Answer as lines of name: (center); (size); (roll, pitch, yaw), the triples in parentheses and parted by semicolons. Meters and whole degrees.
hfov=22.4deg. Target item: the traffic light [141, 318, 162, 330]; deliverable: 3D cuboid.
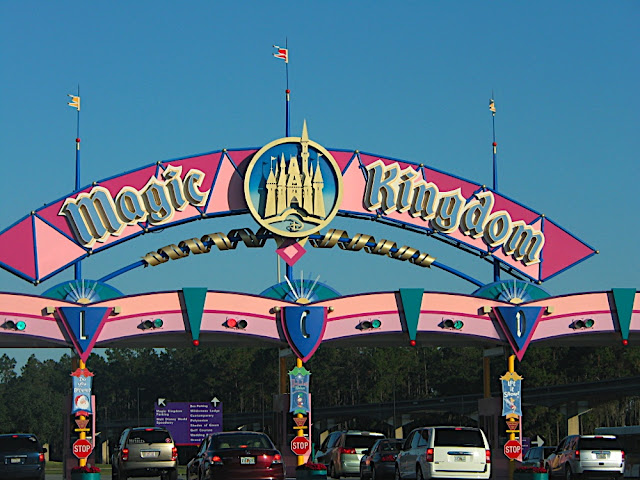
traffic light: (-8.962, 4.525, 86.280); (1.127, 0.606, 0.126); (-3, -6, 0)

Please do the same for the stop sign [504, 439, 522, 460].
stop sign: (10.287, 11.484, 85.954); (1.061, 1.165, 0.187); (1, -5, -28)

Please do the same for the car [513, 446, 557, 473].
car: (11.835, 12.716, 89.857); (1.341, 1.569, 2.728); (2, -6, -9)

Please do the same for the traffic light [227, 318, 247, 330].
traffic light: (-4.513, 4.558, 86.904); (1.222, 0.657, 0.115); (-1, -6, -14)

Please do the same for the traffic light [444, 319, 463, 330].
traffic light: (7.202, 4.691, 88.108); (1.315, 0.673, 0.072); (-2, -6, -7)

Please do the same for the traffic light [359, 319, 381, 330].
traffic light: (2.647, 4.670, 87.627); (1.372, 0.620, 0.117); (-2, -6, -7)
